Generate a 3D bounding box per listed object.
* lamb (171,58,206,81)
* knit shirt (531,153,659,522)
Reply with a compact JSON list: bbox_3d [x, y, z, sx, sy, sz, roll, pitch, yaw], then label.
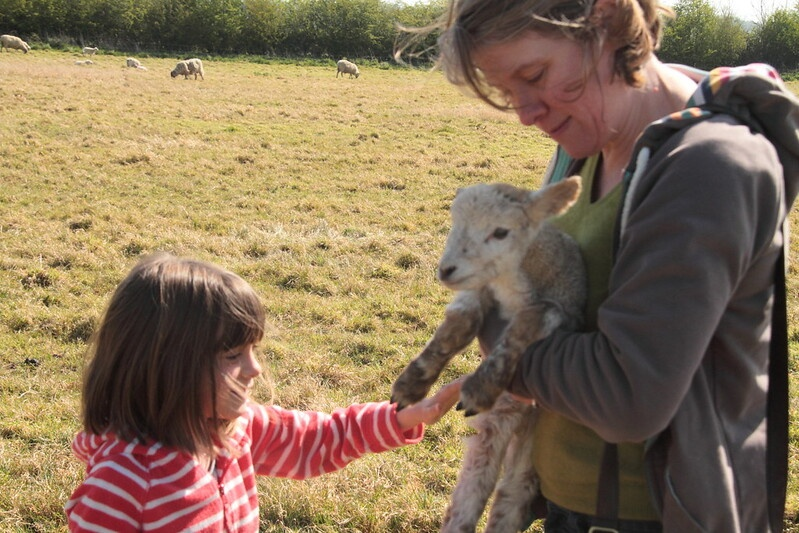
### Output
[{"bbox_3d":[-6.382,-6.039,29.564,0.960,0.639,1.224,11,11,-5],"label":"lamb"},{"bbox_3d":[0.848,0.386,5.486,0.520,1.992,1.016,-4,-1,40],"label":"knit shirt"}]
